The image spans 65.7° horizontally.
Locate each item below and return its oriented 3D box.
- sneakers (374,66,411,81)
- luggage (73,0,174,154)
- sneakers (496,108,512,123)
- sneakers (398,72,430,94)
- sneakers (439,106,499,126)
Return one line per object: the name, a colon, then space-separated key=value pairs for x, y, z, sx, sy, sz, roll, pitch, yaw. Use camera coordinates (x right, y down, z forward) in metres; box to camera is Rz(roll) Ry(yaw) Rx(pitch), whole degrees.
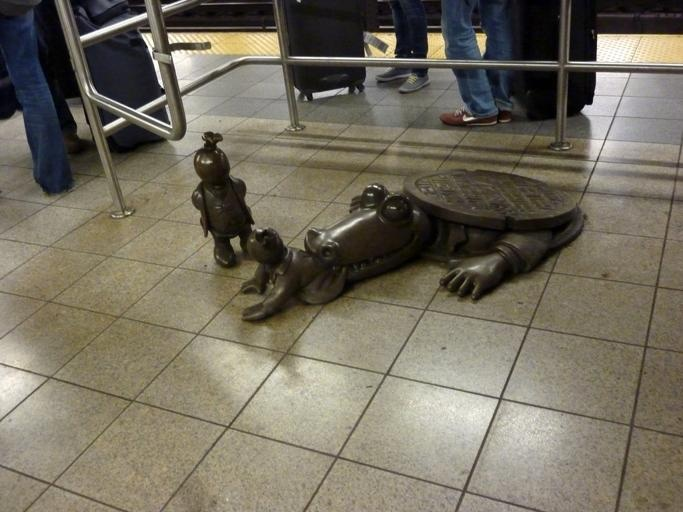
sneakers: x=0.422 y=-1.492 z=4.341 sx=0.315 sy=0.107 sz=0.100 roll=-2 pitch=28 yaw=-3
luggage: x=-1.440 y=-1.180 z=3.466 sx=0.454 sy=0.914 sz=0.473 roll=-18 pitch=35 yaw=-16
sneakers: x=1.073 y=-0.923 z=3.506 sx=0.060 sy=0.052 sz=0.127 roll=3 pitch=28 yaw=10
sneakers: x=0.546 y=-1.347 z=4.149 sx=0.303 sy=0.110 sz=0.108 roll=-31 pitch=55 yaw=-26
sneakers: x=0.839 y=-0.922 z=3.551 sx=0.399 sy=0.138 sz=0.127 roll=3 pitch=37 yaw=14
